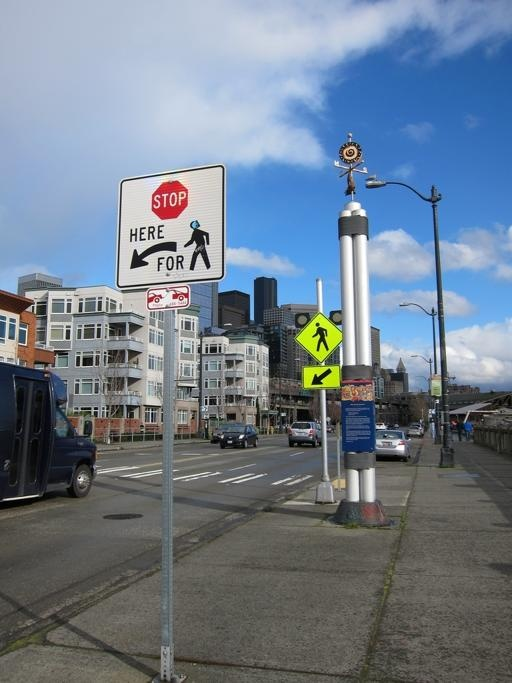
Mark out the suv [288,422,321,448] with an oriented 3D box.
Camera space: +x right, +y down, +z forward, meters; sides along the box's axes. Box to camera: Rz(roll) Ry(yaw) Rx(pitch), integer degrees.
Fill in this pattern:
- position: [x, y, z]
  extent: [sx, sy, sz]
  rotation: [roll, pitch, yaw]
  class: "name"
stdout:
- position: [3.080, 6.009, 40.406]
  extent: [1.895, 1.608, 2.799]
  rotation: [-1, -5, 2]
  class: "suv"
